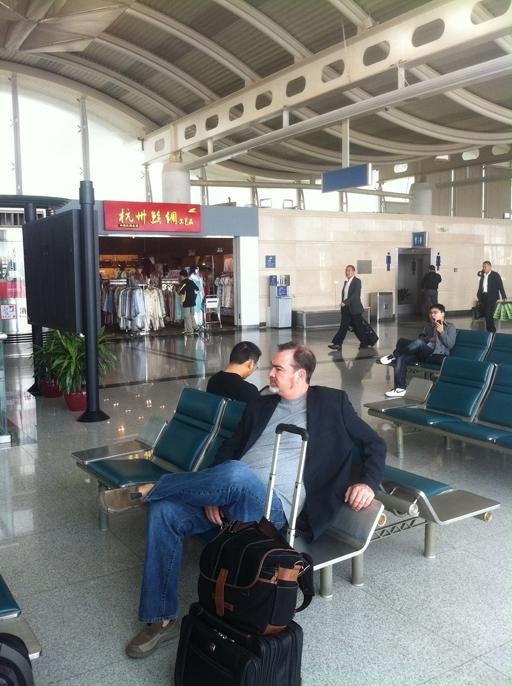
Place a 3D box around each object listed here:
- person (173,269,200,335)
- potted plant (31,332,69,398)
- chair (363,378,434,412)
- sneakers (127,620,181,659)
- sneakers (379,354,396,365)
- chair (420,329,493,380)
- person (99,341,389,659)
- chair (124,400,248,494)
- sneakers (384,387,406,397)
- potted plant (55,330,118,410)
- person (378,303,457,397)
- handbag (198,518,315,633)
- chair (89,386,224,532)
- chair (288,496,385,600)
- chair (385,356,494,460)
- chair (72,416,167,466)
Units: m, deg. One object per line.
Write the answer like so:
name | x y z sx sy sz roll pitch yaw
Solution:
person | -1.755 -0.950 13.419 0.476 1.497 0.721 -1 4 -6
potted plant | -2.758 0.332 6.973 0.440 0.832 0.440 -2 -13 -18
chair | 1.320 0.479 4.693 0.565 0.246 0.302 -4 5 -26
sneakers | -0.379 1.059 1.915 0.185 0.081 0.070 -27 7 -33
sneakers | 1.717 0.211 6.754 0.204 0.080 0.113 -16 6 -37
chair | 2.127 0.063 5.564 0.666 0.411 0.656 3 3 1
person | -0.012 0.577 2.223 0.972 1.262 0.776 10 -14 -20
chair | -0.354 0.486 2.687 0.471 0.449 0.482 3 -2 -31
sneakers | 1.551 0.534 5.804 0.110 0.126 0.302 -4 -5 37
potted plant | -2.028 0.315 6.284 0.812 0.933 0.846 -5 2 -30
person | 2.006 0.072 6.395 0.828 1.225 0.556 12 -3 -12
handbag | 0.000 0.704 1.593 0.282 0.265 0.354 19 -14 -42
chair | -0.563 0.633 2.856 0.727 0.696 0.608 3 1 -44
chair | 0.264 0.827 2.105 0.455 0.274 0.454 -9 -6 20
chair | 1.476 0.566 4.255 0.777 0.769 0.668 -6 5 -32
chair | -0.869 0.660 3.323 0.510 0.194 0.354 -6 4 -26
